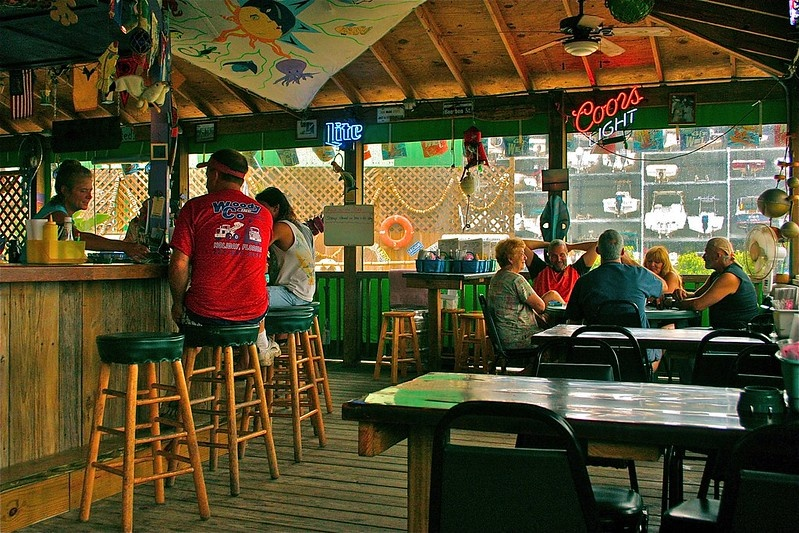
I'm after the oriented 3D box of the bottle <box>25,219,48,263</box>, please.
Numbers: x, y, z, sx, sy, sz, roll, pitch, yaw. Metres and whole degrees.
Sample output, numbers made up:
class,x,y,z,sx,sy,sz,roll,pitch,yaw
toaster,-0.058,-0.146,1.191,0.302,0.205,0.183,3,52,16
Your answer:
class,x,y,z,sx,sy,sz,roll,pitch,yaw
bottle,-2.543,-0.169,6.033,0.138,0.309,0.121,0,0,-16

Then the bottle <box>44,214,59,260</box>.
class,x,y,z,sx,sy,sz,roll,pitch,yaw
bottle,-2.438,-0.167,6.024,0.085,0.206,0.067,1,0,36

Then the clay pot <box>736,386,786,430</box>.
class,x,y,z,sx,sy,sz,roll,pitch,yaw
clay pot,1.860,0.728,4.412,0.261,0.211,0.270,0,0,0

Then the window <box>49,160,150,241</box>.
class,x,y,z,sx,sy,sz,roll,pitch,yaw
window,-3.504,-0.802,10.179,1.589,1.400,0.082,2,-2,17

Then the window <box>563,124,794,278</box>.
class,x,y,z,sx,sy,sz,roll,pitch,yaw
window,3.689,-0.852,11.216,2.646,1.676,0.032,1,-4,22

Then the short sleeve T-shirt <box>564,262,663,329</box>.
class,x,y,z,sx,sy,sz,roll,pitch,yaw
short sleeve T-shirt,1.735,0.152,7.186,1.053,0.722,0.505,1,4,14

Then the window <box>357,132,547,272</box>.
class,x,y,z,sx,sy,sz,roll,pitch,yaw
window,0.692,-0.888,12.049,2.497,1.571,0.057,1,8,11
